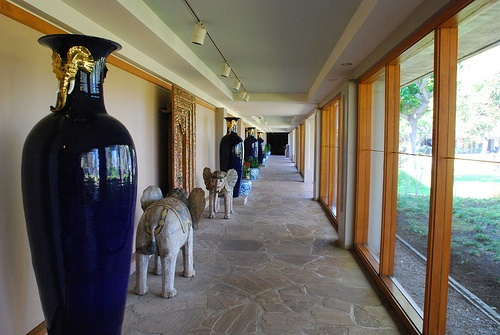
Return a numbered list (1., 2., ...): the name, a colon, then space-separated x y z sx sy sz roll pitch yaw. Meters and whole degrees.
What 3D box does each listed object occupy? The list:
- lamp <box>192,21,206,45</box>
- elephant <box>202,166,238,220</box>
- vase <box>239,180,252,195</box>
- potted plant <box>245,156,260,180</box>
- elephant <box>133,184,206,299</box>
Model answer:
1. lamp: -0.652 -1.717 4.103 0.166 0.279 0.296 -2 13 -7
2. elephant: -0.626 0.517 6.660 0.662 1.070 0.666 -2 13 -9
3. vase: -0.096 0.538 8.256 0.333 0.402 0.341 1 -5 3
4. potted plant: 0.105 0.009 11.721 0.771 0.996 0.725 0 -4 -7
5. elephant: -1.028 0.847 4.065 0.744 1.135 1.641 4 4 4
